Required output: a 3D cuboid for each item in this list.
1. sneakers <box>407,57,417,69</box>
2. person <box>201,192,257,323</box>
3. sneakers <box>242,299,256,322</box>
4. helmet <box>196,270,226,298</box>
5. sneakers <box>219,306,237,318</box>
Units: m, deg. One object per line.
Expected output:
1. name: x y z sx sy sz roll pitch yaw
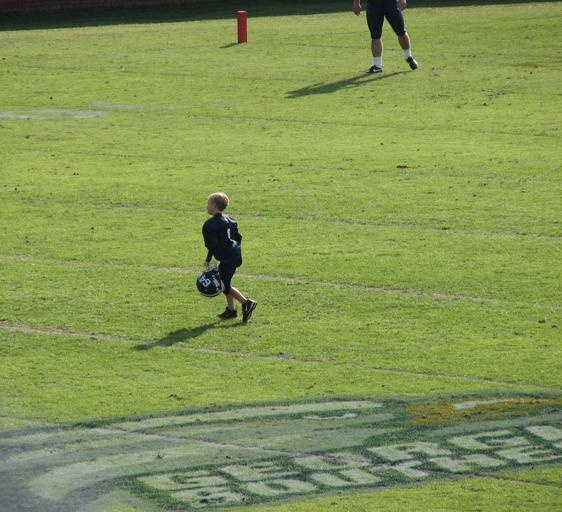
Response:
1. sneakers: 2.795 -4.048 34.683 0.215 0.096 0.280 11 -26 45
2. person: -0.767 -0.004 23.477 0.664 1.857 0.769 -6 12 -1
3. sneakers: -0.462 0.740 23.432 0.218 0.356 0.134 14 24 -5
4. helmet: -0.996 0.383 23.226 0.438 0.335 0.337 30 -22 -36
5. sneakers: -0.752 0.814 23.612 0.345 0.173 0.112 2 10 3
